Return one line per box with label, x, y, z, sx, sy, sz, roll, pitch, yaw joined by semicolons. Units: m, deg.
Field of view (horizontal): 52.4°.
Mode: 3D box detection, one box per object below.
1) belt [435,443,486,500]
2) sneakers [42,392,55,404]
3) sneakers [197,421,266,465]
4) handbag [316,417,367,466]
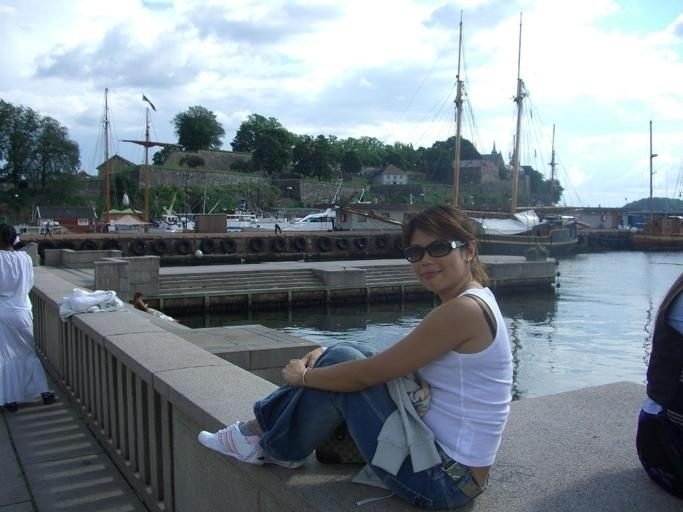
belt;0.631;1.177;3.774;0.112;0.284;0.206;-44;6;12
sneakers;-2.894;1.390;6.893;0.093;0.108;0.122;4;4;-30
sneakers;-0.600;1.073;4.054;0.438;0.189;0.163;13;-1;24
handbag;-0.006;1.030;3.926;0.343;0.341;0.080;-3;0;0
